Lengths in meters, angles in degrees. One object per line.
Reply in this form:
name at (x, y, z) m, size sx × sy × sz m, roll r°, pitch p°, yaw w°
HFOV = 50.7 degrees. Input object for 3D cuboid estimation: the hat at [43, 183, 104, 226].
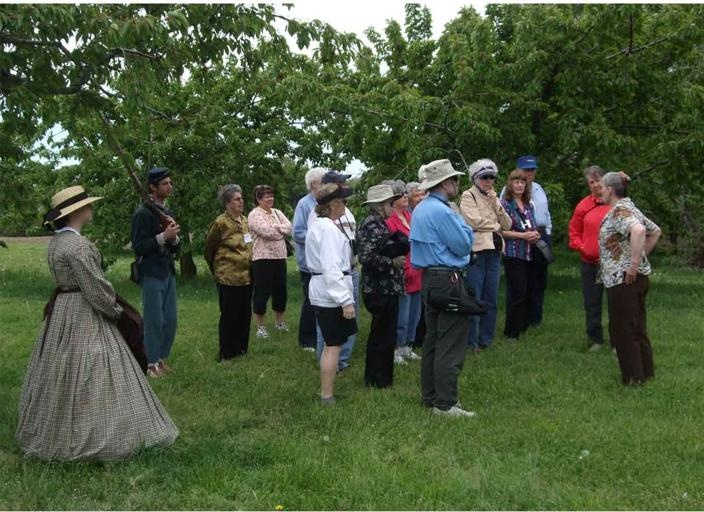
hat at (-3.283, -0.601, 8.597) m, size 0.590 × 0.214 × 0.573 m, roll -35°, pitch 4°, yaw 3°

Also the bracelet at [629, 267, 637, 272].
bracelet at (3.714, 0.177, 9.772) m, size 0.091 × 0.067 × 0.052 m, roll -2°, pitch 3°, yaw -22°

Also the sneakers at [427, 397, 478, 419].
sneakers at (1.258, 1.901, 9.290) m, size 0.559 × 0.238 × 0.203 m, roll -2°, pitch 1°, yaw 2°

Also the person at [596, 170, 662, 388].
person at (3.734, 0.285, 10.072) m, size 0.750 × 2.865 × 0.658 m, roll 0°, pitch 4°, yaw 20°

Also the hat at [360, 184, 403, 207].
hat at (0.465, -0.872, 10.304) m, size 0.385 × 0.150 × 0.417 m, roll -12°, pitch 2°, yaw 29°

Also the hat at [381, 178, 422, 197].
hat at (0.749, -1.031, 11.187) m, size 0.377 × 0.194 × 0.483 m, roll 0°, pitch 1°, yaw -44°

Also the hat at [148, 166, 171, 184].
hat at (-2.658, -1.123, 10.231) m, size 0.270 × 0.141 × 0.201 m, roll -29°, pitch 22°, yaw -33°

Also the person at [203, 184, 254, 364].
person at (-1.851, 0.259, 11.122) m, size 0.667 × 2.584 × 0.360 m, roll -2°, pitch 4°, yaw -11°

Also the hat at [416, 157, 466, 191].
hat at (1.156, -1.087, 9.600) m, size 0.549 × 0.230 × 0.478 m, roll -34°, pitch 13°, yaw -33°

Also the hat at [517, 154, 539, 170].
hat at (2.849, -1.523, 12.244) m, size 0.273 × 0.182 × 0.351 m, roll -1°, pitch 1°, yaw -2°

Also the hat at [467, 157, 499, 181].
hat at (1.984, -1.300, 11.118) m, size 0.316 × 0.288 × 0.374 m, roll -4°, pitch 1°, yaw -15°

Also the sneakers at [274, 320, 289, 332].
sneakers at (-1.242, 1.236, 13.055) m, size 0.121 × 0.151 × 0.350 m, roll 0°, pitch -6°, yaw -25°
